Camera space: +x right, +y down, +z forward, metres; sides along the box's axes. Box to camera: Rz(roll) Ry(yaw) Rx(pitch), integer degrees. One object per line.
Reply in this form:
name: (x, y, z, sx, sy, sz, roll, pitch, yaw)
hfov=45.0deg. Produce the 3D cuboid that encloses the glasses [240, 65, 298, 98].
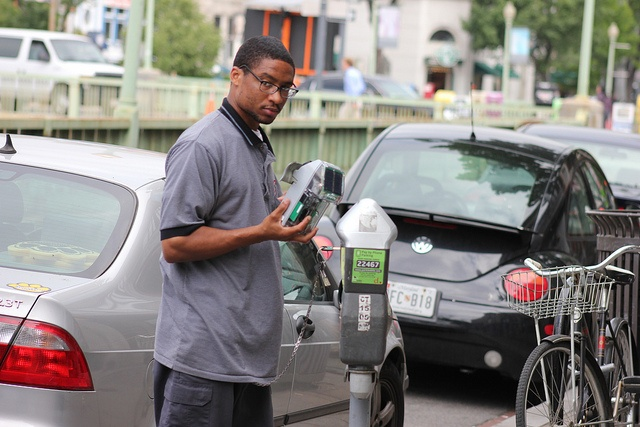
glasses: (-0.203, -0.577, 3.518, 0.170, 0.046, 0.172, 40, 20, 30)

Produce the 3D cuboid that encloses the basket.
basket: (1.473, 0.506, 4.893, 0.689, 0.272, 0.482, -2, -4, 24)

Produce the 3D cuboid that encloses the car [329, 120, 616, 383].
car: (1.661, 0.178, 7.856, 2.488, 2.008, 4.044, 11, 13, 31)
